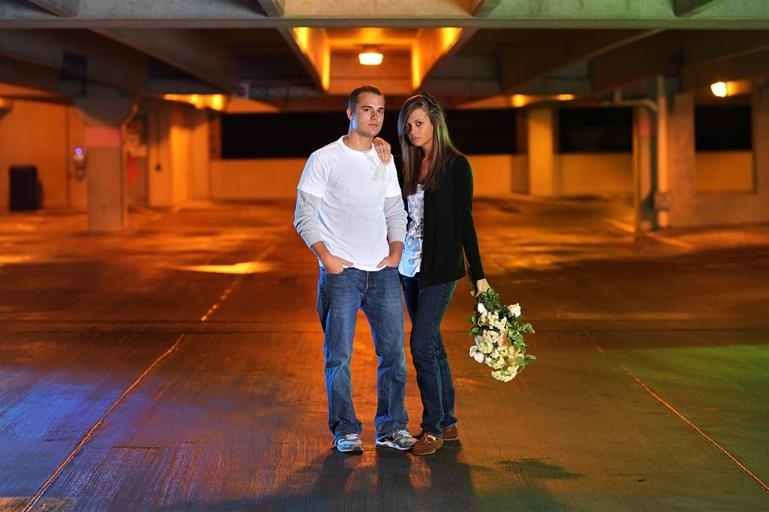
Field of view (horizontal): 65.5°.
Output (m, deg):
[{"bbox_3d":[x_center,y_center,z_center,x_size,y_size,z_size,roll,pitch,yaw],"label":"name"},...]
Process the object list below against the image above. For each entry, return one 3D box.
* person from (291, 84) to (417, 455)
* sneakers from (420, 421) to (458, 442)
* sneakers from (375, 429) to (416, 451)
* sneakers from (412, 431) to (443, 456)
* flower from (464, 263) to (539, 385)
[{"bbox_3d":[-0.207,0.094,4.570,0.923,2.828,0.381,1,5,-8],"label":"person"},{"bbox_3d":[0.460,1.394,4.791,0.356,0.145,0.127,4,1,-35],"label":"sneakers"},{"bbox_3d":[0.100,1.413,4.646,0.312,0.145,0.138,-1,7,16],"label":"sneakers"},{"bbox_3d":[0.327,1.434,4.571,0.129,0.088,0.231,1,1,32],"label":"sneakers"},{"bbox_3d":[0.922,0.593,4.634,0.448,0.430,0.579,12,5,5],"label":"flower"}]
